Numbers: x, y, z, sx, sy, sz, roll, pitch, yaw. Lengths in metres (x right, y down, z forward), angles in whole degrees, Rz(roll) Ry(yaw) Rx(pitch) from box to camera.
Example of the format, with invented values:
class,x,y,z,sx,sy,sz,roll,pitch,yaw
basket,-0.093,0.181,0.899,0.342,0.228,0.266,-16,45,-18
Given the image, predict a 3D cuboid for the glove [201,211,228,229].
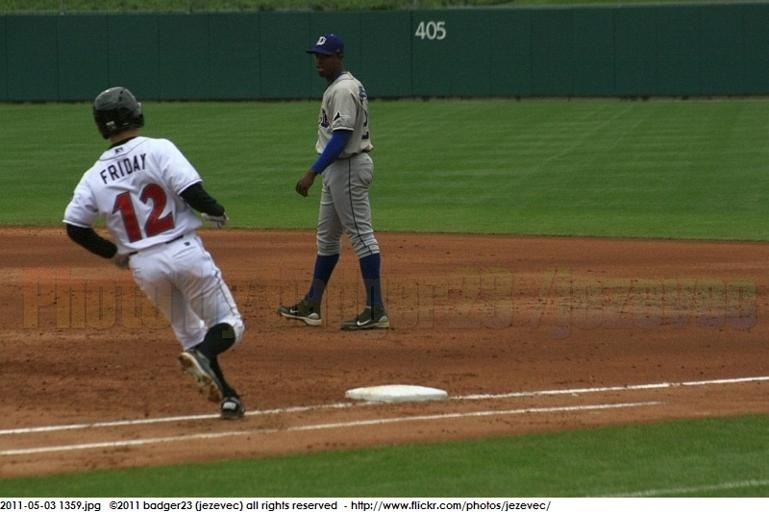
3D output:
class,x,y,z,sx,sy,sz,roll,pitch,yaw
glove,-2.250,-0.479,20.256,0.185,0.137,0.441,-25,-21,38
